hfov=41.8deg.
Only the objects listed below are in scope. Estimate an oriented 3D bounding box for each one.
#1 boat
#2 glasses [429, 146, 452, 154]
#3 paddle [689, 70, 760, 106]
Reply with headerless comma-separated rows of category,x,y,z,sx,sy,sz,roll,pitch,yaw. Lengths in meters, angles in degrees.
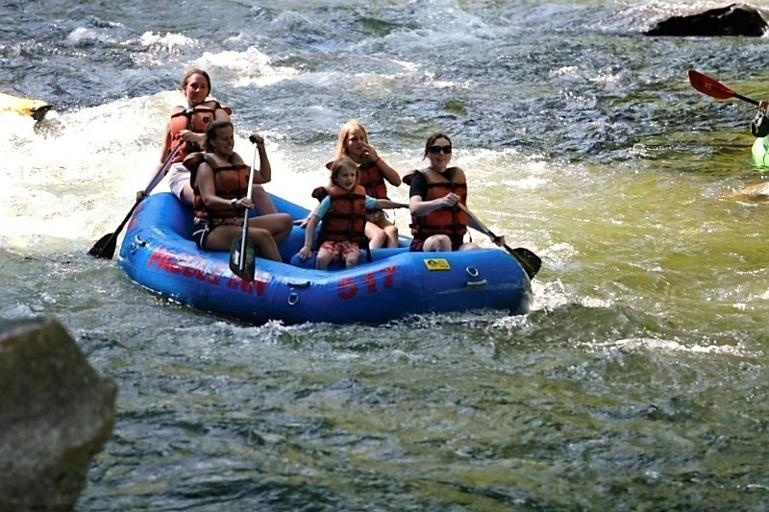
boat,-0.835,-0.080,9.662,2.897,0.506,1.643,10,9,25
glasses,0.540,-1.061,9.946,0.271,0.090,0.134,-5,12,-17
paddle,4.556,-2.271,13.375,0.772,0.377,0.751,-10,15,-38
